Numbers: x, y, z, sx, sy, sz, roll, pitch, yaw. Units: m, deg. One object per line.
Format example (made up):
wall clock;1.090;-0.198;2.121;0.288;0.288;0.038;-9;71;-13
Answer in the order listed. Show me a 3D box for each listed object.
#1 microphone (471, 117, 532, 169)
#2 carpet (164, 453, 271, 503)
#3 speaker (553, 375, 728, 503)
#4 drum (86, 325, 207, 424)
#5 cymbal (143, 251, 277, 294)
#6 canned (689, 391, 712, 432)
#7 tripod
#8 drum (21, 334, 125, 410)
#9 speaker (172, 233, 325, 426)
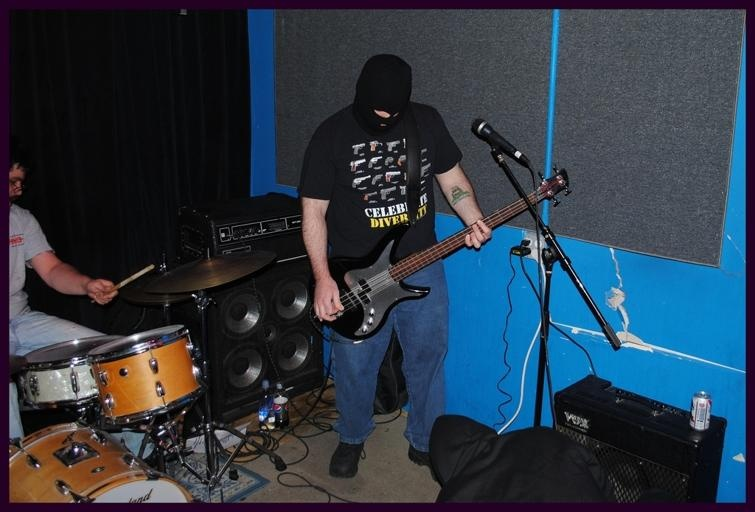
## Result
microphone;0.661;-0.600;3.185;0.465;0.123;0.125;36;23;18
carpet;-0.878;1.223;3.330;0.263;0.003;0.302;17;20;42
speaker;1.228;0.850;2.777;0.228;0.517;0.539;-17;20;-39
drum;-1.101;0.559;3.063;0.464;0.339;0.471;-11;1;0
cymbal;-0.831;0.077;3.088;0.317;0.082;0.334;-15;11;30
canned;1.524;0.729;2.870;0.082;0.155;0.135;8;20;32
tripod;-0.896;0.842;3.578;0.637;1.049;0.590;19;33;32
drum;-1.534;0.591;3.109;0.359;0.172;0.421;8;13;40
speaker;-0.799;0.424;3.656;0.618;1.155;0.907;16;25;40
